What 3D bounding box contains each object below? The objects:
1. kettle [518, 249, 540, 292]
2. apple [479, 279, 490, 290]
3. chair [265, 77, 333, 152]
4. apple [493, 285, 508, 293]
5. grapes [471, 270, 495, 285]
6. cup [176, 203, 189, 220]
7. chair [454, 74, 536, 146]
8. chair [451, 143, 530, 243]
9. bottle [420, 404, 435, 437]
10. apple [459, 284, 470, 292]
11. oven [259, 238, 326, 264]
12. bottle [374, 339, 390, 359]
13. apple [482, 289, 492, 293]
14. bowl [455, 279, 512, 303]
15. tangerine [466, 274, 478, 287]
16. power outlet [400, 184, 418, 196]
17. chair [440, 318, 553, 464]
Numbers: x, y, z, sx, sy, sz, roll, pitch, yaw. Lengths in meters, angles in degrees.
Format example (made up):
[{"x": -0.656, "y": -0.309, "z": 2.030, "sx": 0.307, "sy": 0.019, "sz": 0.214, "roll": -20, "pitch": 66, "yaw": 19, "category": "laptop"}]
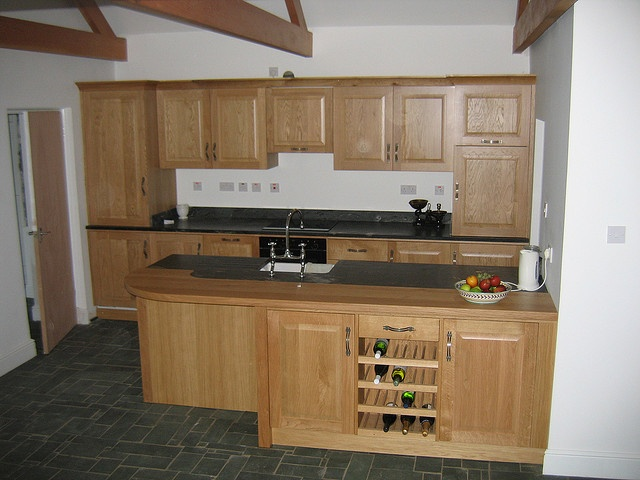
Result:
[{"x": 1.517, "y": 0.215, "z": 3.692, "sx": 0.147, "sy": 0.287, "sz": 0.155, "roll": 2, "pitch": 11, "yaw": 16, "category": "kettle"}, {"x": 1.105, "y": 0.301, "z": 3.418, "sx": 0.065, "sy": 0.068, "sz": 0.062, "roll": 21, "pitch": 5, "yaw": -32, "category": "apple"}, {"x": -0.208, "y": -1.393, "z": 5.534, "sx": 0.871, "sy": 0.737, "sz": 0.456, "roll": 2, "pitch": 14, "yaw": 8, "category": "chair"}, {"x": 1.214, "y": 0.332, "z": 3.436, "sx": 0.067, "sy": 0.035, "sz": 0.049, "roll": -3, "pitch": -2, "yaw": 24, "category": "apple"}, {"x": 1.099, "y": 0.269, "z": 3.513, "sx": 0.124, "sy": 0.052, "sz": 0.153, "roll": -1, "pitch": 4, "yaw": -2, "category": "grapes"}, {"x": -1.666, "y": -0.345, "z": 6.248, "sx": 0.199, "sy": 0.182, "sz": 0.187, "roll": 2, "pitch": 12, "yaw": 0, "category": "cup"}, {"x": 1.886, "y": -1.311, "z": 5.212, "sx": 0.561, "sy": 0.735, "sz": 0.846, "roll": -23, "pitch": 27, "yaw": -37, "category": "chair"}, {"x": 1.933, "y": -0.523, "z": 5.345, "sx": 0.844, "sy": 0.936, "sz": 0.632, "roll": 8, "pitch": 17, "yaw": 41, "category": "chair"}, {"x": 0.744, "y": 1.273, "z": 3.553, "sx": 0.101, "sy": 0.197, "sz": 0.239, "roll": 1, "pitch": 9, "yaw": 12, "category": "bottle"}, {"x": 0.977, "y": 0.323, "z": 3.432, "sx": 0.053, "sy": 0.055, "sz": 0.049, "roll": 4, "pitch": -30, "yaw": 4, "category": "apple"}, {"x": -0.233, "y": 0.085, "z": 5.469, "sx": 0.596, "sy": 0.337, "sz": 0.314, "roll": 0, "pitch": 5, "yaw": 7, "category": "oven"}, {"x": 0.426, "y": 0.763, "z": 3.560, "sx": 0.048, "sy": 0.041, "sz": 0.177, "roll": 32, "pitch": 17, "yaw": 8, "category": "bottle"}, {"x": 1.123, "y": 0.345, "z": 3.428, "sx": 0.034, "sy": 0.035, "sz": 0.032, "roll": 12, "pitch": 4, "yaw": -21, "category": "apple"}, {"x": 1.110, "y": 0.351, "z": 3.481, "sx": 0.352, "sy": 0.130, "sz": 0.257, "roll": 1, "pitch": 9, "yaw": 14, "category": "bowl"}, {"x": 1.031, "y": 0.284, "z": 3.485, "sx": 0.081, "sy": 0.071, "sz": 0.076, "roll": 0, "pitch": 5, "yaw": -40, "category": "tangerine"}, {"x": 1.029, "y": -0.587, "z": 5.885, "sx": 0.151, "sy": 0.085, "sz": 0.019, "roll": 2, "pitch": 20, "yaw": 12, "category": "power outlet"}, {"x": 1.093, "y": 1.031, "z": 3.683, "sx": 0.866, "sy": 1.014, "sz": 0.583, "roll": 6, "pitch": -9, "yaw": -9, "category": "chair"}]
